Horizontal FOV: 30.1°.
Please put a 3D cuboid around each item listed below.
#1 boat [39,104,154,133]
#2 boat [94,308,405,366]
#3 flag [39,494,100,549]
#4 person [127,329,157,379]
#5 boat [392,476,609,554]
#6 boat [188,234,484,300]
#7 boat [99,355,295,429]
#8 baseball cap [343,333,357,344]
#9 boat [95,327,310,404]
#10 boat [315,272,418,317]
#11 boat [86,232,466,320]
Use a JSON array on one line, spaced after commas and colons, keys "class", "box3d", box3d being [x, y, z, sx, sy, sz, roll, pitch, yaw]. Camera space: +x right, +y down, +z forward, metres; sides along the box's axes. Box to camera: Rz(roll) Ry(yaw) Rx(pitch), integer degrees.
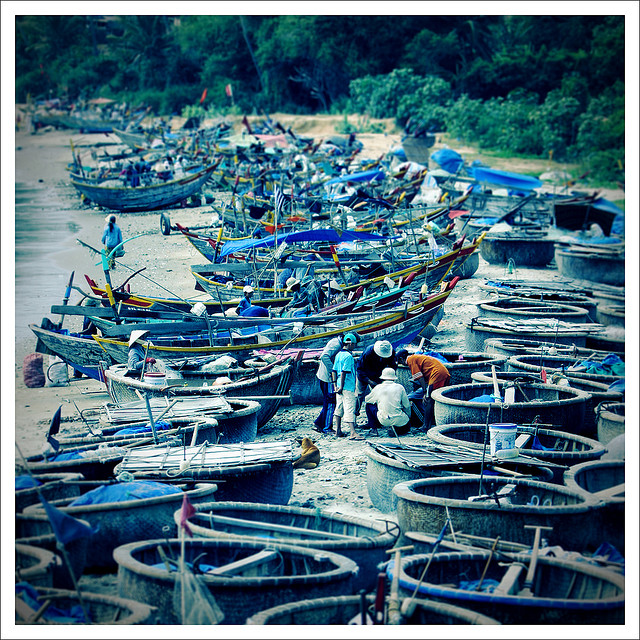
[{"class": "boat", "box3d": [-12.287, -11.593, 68.631, 3.836, 2.008, 6.042, 5, 5, 23]}, {"class": "boat", "box3d": [-1.261, 0.350, 21.049, 3.425, 0.485, 0.515, -10, 0, -1]}, {"class": "flag", "box3d": [-3.011, 2.369, 14.047, 0.691, 0.702, 0.387, 0, 8, -30]}, {"class": "person", "box3d": [-3.051, 0.631, 20.425, 0.343, 0.384, 0.793, -10, -22, -9]}, {"class": "boat", "box3d": [2.372, 2.520, 15.568, 1.985, 0.561, 1.298, 5, -12, 8]}, {"class": "boat", "box3d": [0.214, -1.331, 26.327, 7.043, 1.271, 1.349, -2, 4, 19]}, {"class": "boat", "box3d": [-1.998, 1.280, 19.611, 3.238, 0.953, 1.286, -2, 10, -4]}, {"class": "baseball cap", "box3d": [0.516, 0.317, 19.925, 0.214, 0.163, 0.273, 3, 5, -1]}, {"class": "boat", "box3d": [-2.048, 0.921, 19.812, 2.849, 0.747, 1.628, 1, 5, 3]}, {"class": "boat", "box3d": [0.955, -0.450, 23.250, 1.908, 0.287, 0.381, -27, 12, -27]}, {"class": "boat", "box3d": [-1.578, -0.392, 23.478, 7.998, 1.290, 1.328, -2, 7, 18]}]
